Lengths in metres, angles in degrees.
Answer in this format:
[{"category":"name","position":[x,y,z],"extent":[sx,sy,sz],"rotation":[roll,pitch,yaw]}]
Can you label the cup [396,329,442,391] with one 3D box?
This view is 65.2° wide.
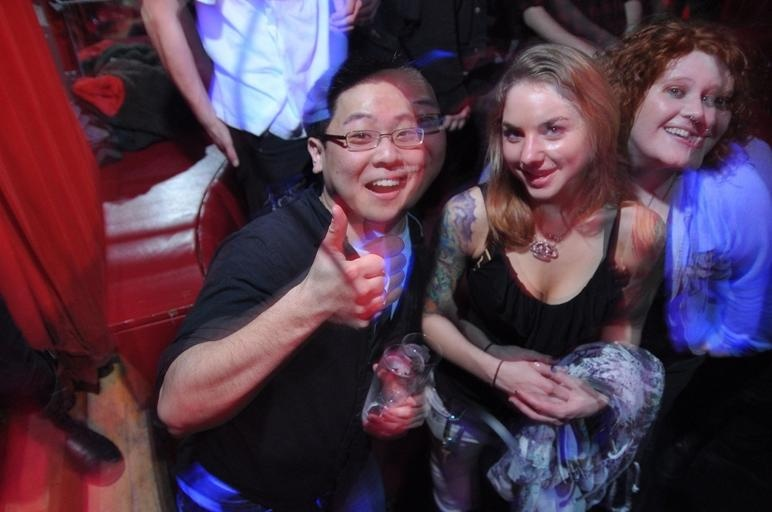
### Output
[{"category":"cup","position":[0.132,0.358,2.266],"extent":[0.172,0.201,0.177],"rotation":[0,49,0]}]
